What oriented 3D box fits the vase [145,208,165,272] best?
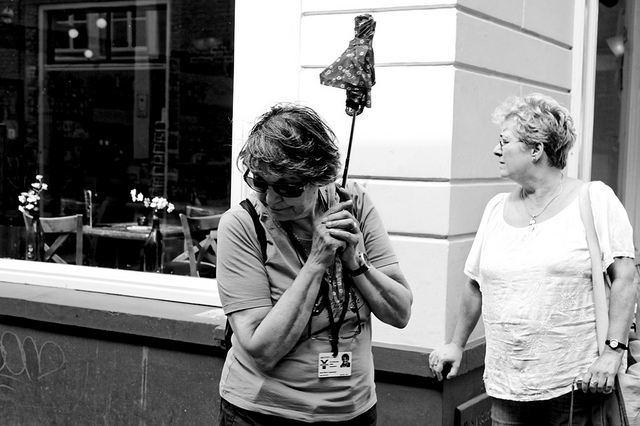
[{"bbox_3d":[-1.563,0.260,6.918,0.216,0.583,0.080,4,5,15],"label":"vase"}]

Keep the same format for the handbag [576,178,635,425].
[{"bbox_3d":[1.717,0.545,4.379,0.185,1.432,0.448,0,6,-26],"label":"handbag"}]

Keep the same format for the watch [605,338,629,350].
[{"bbox_3d":[1.748,0.775,4.285,0.074,0.041,0.073,28,-11,-39],"label":"watch"}]

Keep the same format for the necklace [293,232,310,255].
[{"bbox_3d":[-0.104,0.168,3.952,0.151,0.016,0.018,48,-1,-3],"label":"necklace"}]

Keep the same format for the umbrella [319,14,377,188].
[{"bbox_3d":[0.157,-0.823,4.022,0.297,0.554,0.135,3,5,0],"label":"umbrella"}]

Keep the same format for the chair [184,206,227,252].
[{"bbox_3d":[-1.130,0.116,6.829,0.432,0.539,0.408,-3,4,-24],"label":"chair"}]

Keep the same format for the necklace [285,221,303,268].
[{"bbox_3d":[-0.125,0.172,3.961,0.035,0.276,0.013,-17,11,35],"label":"necklace"}]

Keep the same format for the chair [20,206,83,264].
[{"bbox_3d":[-2.624,0.265,7.256,0.428,0.594,0.433,0,-12,-9],"label":"chair"}]

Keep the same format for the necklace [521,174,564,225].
[{"bbox_3d":[1.398,-0.101,4.547,0.039,0.332,0.199,30,-9,-34],"label":"necklace"}]
